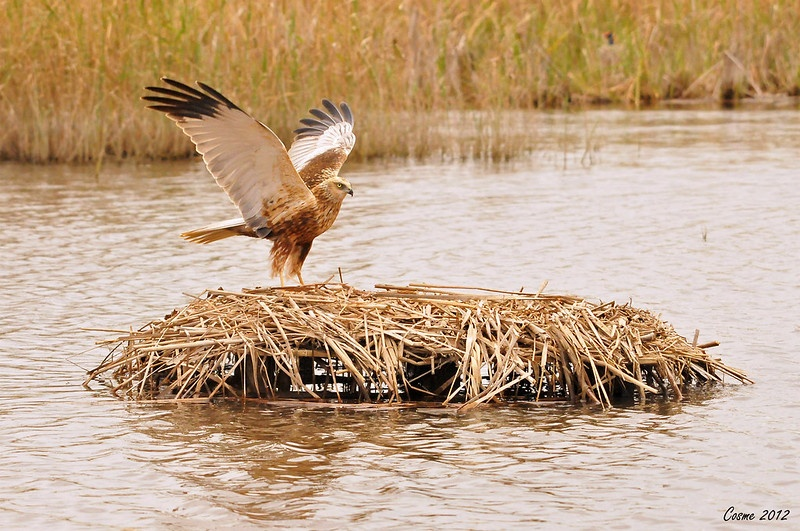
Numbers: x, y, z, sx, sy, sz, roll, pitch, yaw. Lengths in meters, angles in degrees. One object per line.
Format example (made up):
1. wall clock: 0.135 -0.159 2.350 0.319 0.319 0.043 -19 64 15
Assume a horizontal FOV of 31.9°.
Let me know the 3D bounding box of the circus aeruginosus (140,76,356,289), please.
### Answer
1. circus aeruginosus: -1.212 -0.683 12.749 2.141 1.538 2.752 6 2 24
